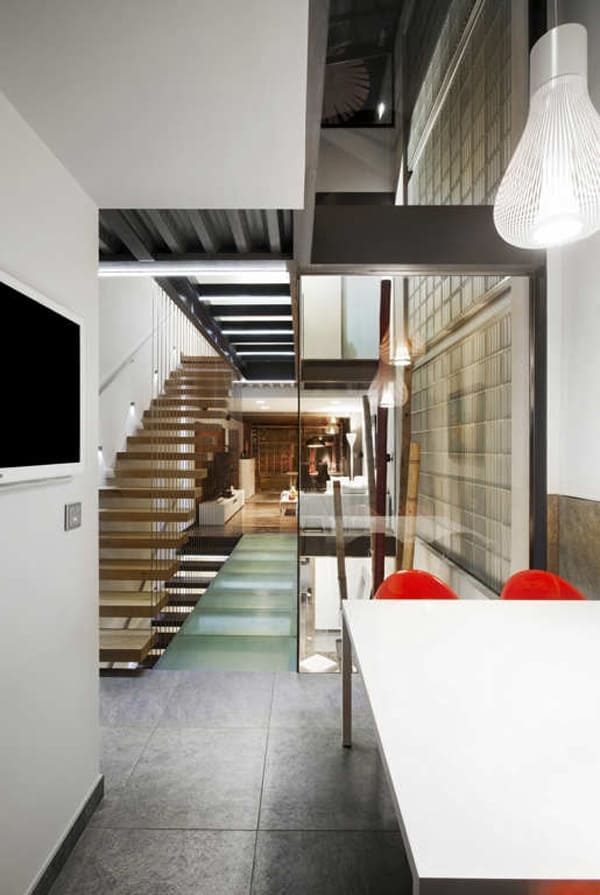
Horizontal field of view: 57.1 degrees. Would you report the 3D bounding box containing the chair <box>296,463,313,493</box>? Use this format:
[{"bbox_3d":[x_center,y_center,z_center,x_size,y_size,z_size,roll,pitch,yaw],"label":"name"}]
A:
[{"bbox_3d":[0.023,0.153,2.832,0.080,0.244,0.101,1,3,5],"label":"chair"}]

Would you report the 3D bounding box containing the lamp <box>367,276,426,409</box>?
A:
[{"bbox_3d":[0.472,-0.512,2.736,0.274,0.631,0.083,-1,-1,10],"label":"lamp"}]

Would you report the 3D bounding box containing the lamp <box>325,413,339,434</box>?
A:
[{"bbox_3d":[0.160,-0.118,2.745,0.059,0.135,0.070,2,-1,26],"label":"lamp"}]

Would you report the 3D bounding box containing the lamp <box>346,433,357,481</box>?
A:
[{"bbox_3d":[0.259,0.044,2.817,0.048,0.240,0.026,0,-1,3],"label":"lamp"}]
